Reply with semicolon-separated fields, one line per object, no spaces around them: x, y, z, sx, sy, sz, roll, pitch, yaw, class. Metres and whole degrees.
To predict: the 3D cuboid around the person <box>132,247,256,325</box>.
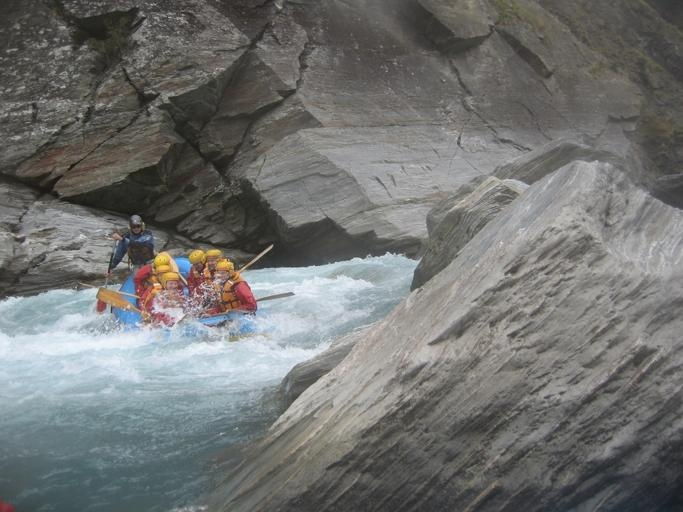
-2.487;0.636;11.942;2.095;0.648;1.500;-16;38;-38;person

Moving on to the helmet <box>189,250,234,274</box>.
-2.303;0.043;12.273;0.576;0.473;0.364;-10;42;0;helmet

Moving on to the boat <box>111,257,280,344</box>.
-2.704;0.711;11.938;2.223;0.697;2.258;-12;33;-24;boat

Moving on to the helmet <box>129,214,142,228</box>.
-3.759;-0.635;13.120;0.288;0.217;0.226;-4;29;-8;helmet
